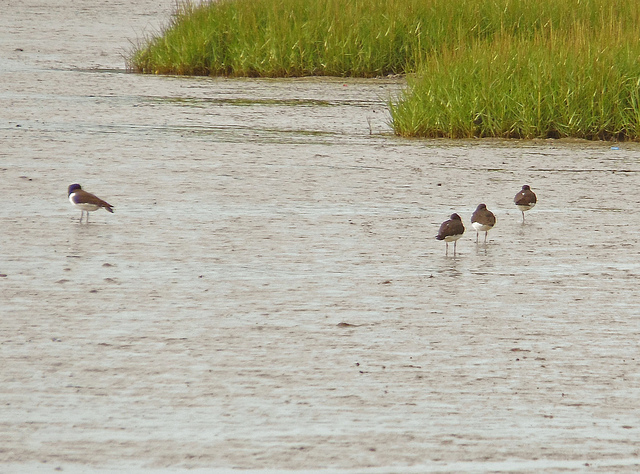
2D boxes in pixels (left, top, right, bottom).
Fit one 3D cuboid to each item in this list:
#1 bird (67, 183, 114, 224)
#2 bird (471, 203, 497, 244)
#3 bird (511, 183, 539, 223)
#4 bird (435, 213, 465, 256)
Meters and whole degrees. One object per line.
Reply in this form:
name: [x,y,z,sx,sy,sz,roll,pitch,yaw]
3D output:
bird: [-2.274,-0.317,11.309,0.342,0.372,0.471,-7,16,-30]
bird: [1.509,-0.140,10.697,0.281,0.332,0.430,3,1,3]
bird: [2.044,-0.352,11.642,0.275,0.334,0.467,2,4,21]
bird: [1.164,-0.040,10.344,0.262,0.344,0.536,2,4,29]
